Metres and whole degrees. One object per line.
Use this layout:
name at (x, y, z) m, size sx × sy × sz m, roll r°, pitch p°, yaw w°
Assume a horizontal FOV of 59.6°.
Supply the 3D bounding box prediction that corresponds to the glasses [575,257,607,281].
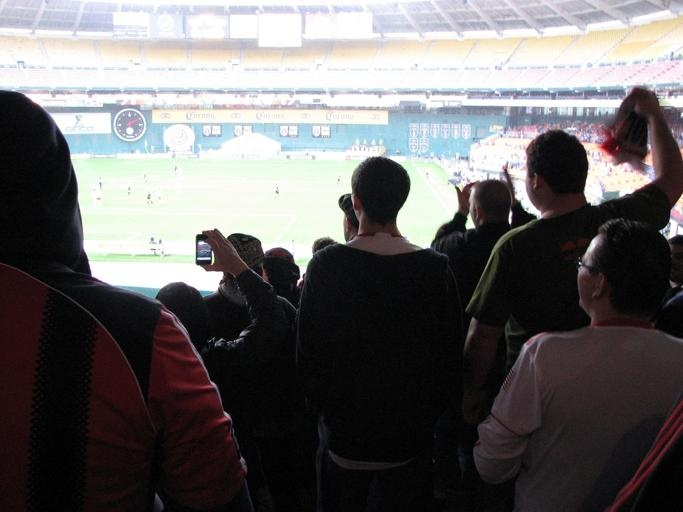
glasses at (0.851, 0.046, 2.011) m, size 0.072 × 0.022 × 0.076 m, roll 21°, pitch 23°, yaw 14°
